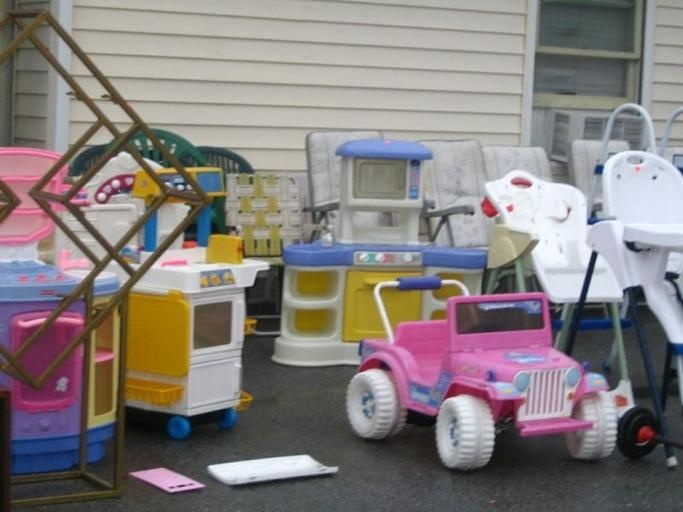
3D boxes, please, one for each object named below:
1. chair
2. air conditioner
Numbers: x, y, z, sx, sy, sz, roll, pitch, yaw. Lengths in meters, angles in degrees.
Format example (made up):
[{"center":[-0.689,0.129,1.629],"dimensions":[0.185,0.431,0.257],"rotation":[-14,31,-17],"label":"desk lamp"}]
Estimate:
[{"center":[0.702,0.563,5.072],"dimensions":[0.841,1.511,2.111],"rotation":[1,0,-26],"label":"chair"},{"center":[2.646,-1.243,8.794],"dimensions":[0.894,0.568,0.475],"rotation":[-5,17,-27],"label":"air conditioner"}]
